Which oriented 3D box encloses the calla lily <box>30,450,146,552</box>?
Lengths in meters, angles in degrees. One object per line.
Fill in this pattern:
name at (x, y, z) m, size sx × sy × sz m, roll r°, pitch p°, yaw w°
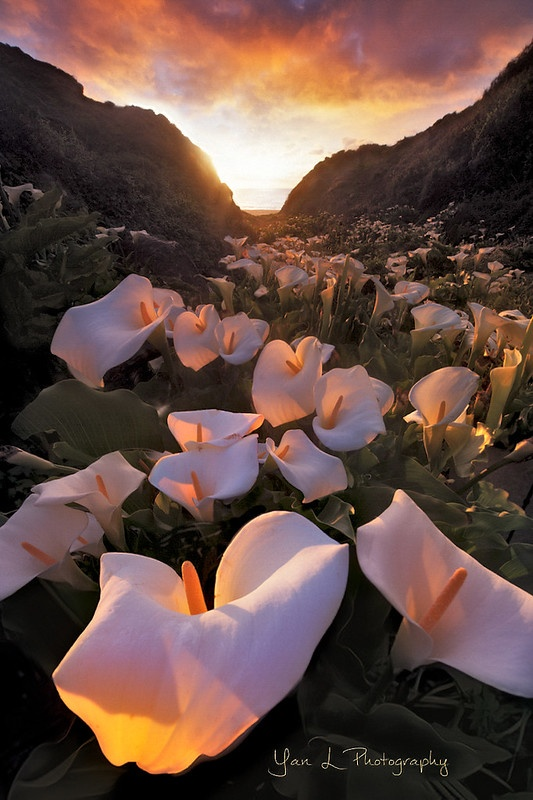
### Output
calla lily at (-0.221, 0.131, 0.633) m, size 0.087 × 0.121 × 0.085 m, roll 14°, pitch 33°, yaw 43°
